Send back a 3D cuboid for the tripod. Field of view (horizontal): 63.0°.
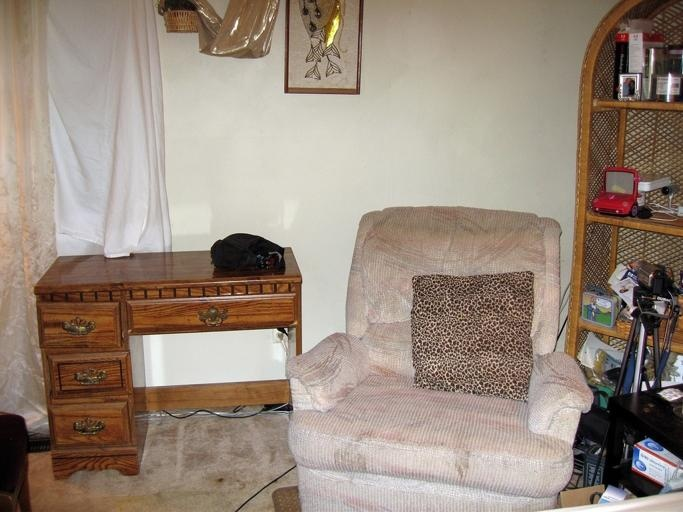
[{"bbox_3d":[1.320,0.575,2.485,0.231,0.878,0.809,9,12,32],"label":"tripod"}]

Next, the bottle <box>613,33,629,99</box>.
[{"bbox_3d":[1.356,-0.940,2.709,0.033,0.284,0.067,-6,13,-36],"label":"bottle"}]

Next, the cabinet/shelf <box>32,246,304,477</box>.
[{"bbox_3d":[-0.894,0.515,2.747,0.985,0.810,0.441,-2,10,-10],"label":"cabinet/shelf"}]

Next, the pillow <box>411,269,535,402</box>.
[{"bbox_3d":[0.584,0.367,2.448,0.501,0.530,0.184,0,-9,9],"label":"pillow"}]

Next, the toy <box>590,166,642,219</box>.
[{"bbox_3d":[1.356,-0.315,2.759,0.191,0.235,0.130,13,21,41],"label":"toy"}]

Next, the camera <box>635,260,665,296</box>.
[{"bbox_3d":[1.348,0.091,2.430,0.064,0.107,0.195,2,11,11],"label":"camera"}]
